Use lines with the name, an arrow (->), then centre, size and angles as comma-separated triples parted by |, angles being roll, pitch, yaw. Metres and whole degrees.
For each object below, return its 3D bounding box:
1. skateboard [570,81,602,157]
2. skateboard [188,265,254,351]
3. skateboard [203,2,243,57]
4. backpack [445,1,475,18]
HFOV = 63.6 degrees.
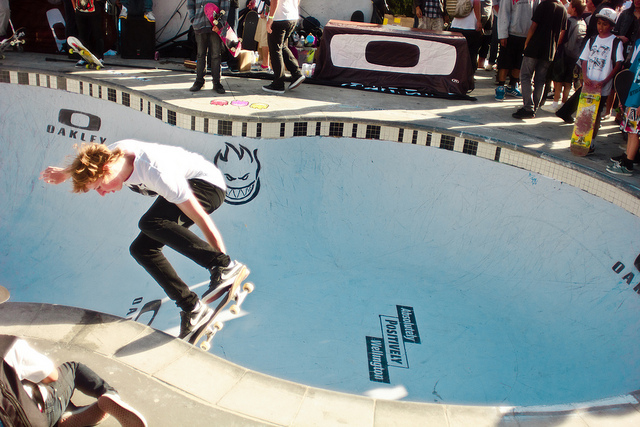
skateboard -> 3.872, -1.426, 7.528 | 0.300, 1.264, 0.176 | 12, -11, 25
skateboard -> -1.223, 1.226, 6.353 | 0.173, 1.248, 0.476 | 34, 12, -22
skateboard -> -1.684, -3.161, 9.037 | 0.290, 1.077, 0.150 | -43, 28, -20
backpack -> 2.942, -4.387, 11.222 | 0.641, 0.276, 0.509 | 21, 46, 24
